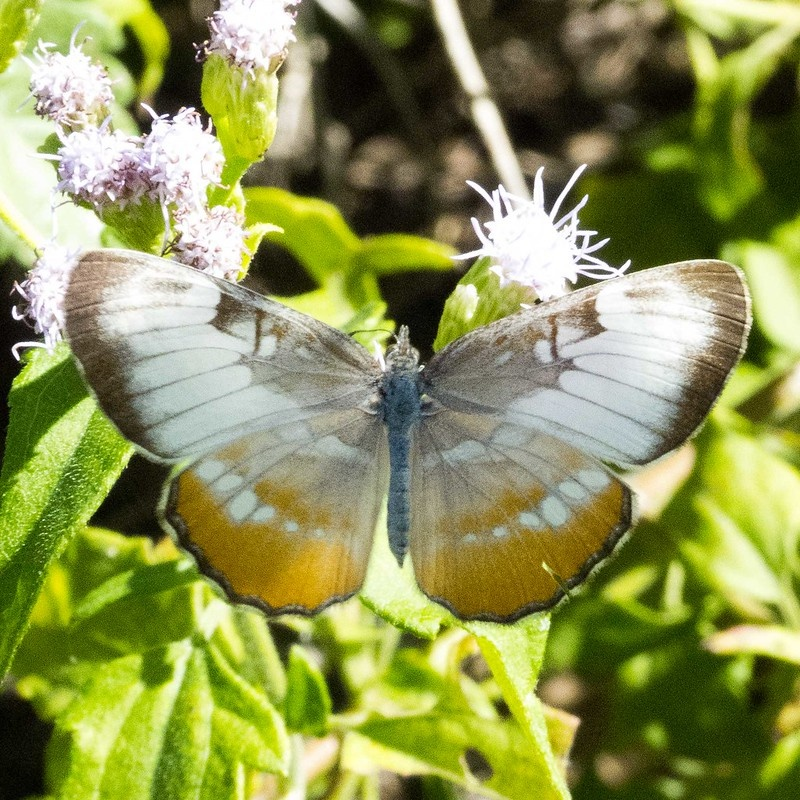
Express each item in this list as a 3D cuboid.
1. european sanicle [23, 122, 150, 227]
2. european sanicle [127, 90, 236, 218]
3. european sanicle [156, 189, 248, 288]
[{"bbox_3d":[-0.500,-0.387,1.862,0.159,0.092,0.152,-14,71,2],"label":"european sanicle"},{"bbox_3d":[-0.361,-0.406,1.822,0.225,0.054,0.154,-3,93,-8],"label":"european sanicle"},{"bbox_3d":[-0.315,-0.267,1.855,0.178,0.068,0.119,8,83,-8],"label":"european sanicle"}]
